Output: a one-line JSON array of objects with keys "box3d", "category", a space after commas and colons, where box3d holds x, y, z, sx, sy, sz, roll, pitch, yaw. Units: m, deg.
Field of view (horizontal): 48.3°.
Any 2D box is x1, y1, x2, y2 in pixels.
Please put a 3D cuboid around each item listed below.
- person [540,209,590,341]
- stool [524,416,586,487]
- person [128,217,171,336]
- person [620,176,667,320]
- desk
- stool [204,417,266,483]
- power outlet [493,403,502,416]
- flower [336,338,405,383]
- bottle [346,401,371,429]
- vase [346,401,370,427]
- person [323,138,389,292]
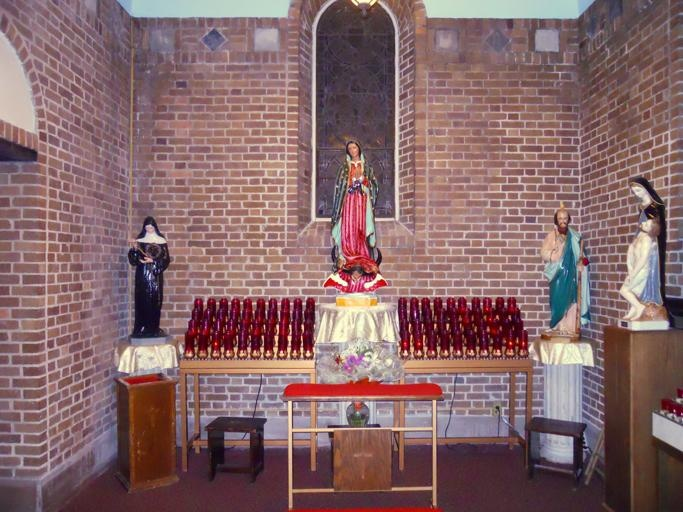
[{"box3d": [2.338, 0.152, 7.884, 0.466, 1.320, 0.564, -2, -5, 19], "category": "person"}, {"box3d": [2.122, 1.933, 7.510, 0.519, 0.614, 0.368, 4, 10, 36], "category": "stool"}, {"box3d": [-1.976, 0.209, 7.788, 0.404, 1.242, 0.170, 2, -5, -21], "category": "person"}, {"box3d": [2.725, -0.060, 6.826, 0.393, 1.277, 0.221, -1, -5, 16], "category": "person"}, {"box3d": [0.202, 1.734, 7.139, 1.426, 1.171, 1.304, 0, -5, 2], "category": "desk"}, {"box3d": [-1.054, 1.928, 7.638, 0.481, 0.568, 0.566, 0, 0, -1], "category": "stool"}, {"box3d": [1.700, 1.656, 8.244, 0.066, 0.123, 0.027, -1, -1, 12], "category": "power outlet"}, {"box3d": [0.273, 0.968, 7.155, 0.403, 0.327, 0.520, 0, -3, 1], "category": "flower"}, {"box3d": [0.147, 1.429, 7.112, 0.200, 0.293, 0.214, -1, 4, 0], "category": "bottle"}, {"box3d": [0.148, 1.420, 7.125, 0.197, 0.281, 0.204, -4, 6, -32], "category": "vase"}, {"box3d": [0.145, -0.392, 7.909, 0.615, 1.562, 0.301, 0, -5, 0], "category": "person"}]
